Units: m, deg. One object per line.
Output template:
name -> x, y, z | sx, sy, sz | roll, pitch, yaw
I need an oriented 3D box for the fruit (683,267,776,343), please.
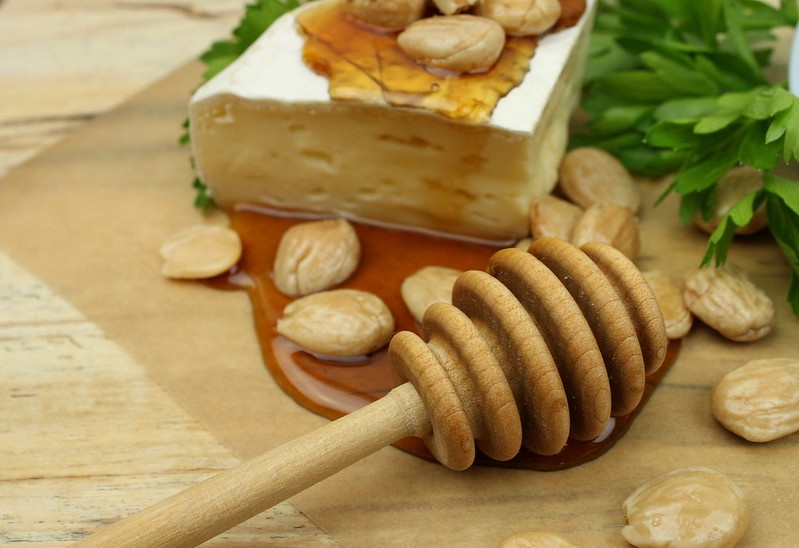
fruit -> 0.781, 0.068, 2.353 | 0.219, 0.087, 0.151 | 38, 90, 14

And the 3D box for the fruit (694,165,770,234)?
fruit -> 0.832, -0.190, 2.473 | 0.178, 0.058, 0.160 | 20, 92, -19
